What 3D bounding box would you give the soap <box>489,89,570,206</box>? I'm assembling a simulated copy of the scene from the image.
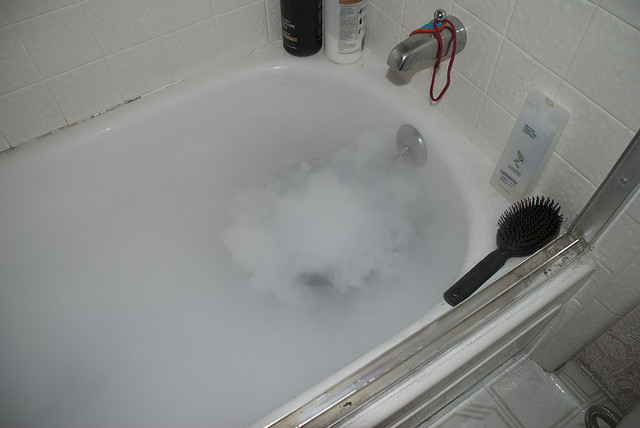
[{"bbox_3d":[0.513,-0.165,1.101,0.041,0.302,0.129,-22,51,-33],"label":"soap"}]
